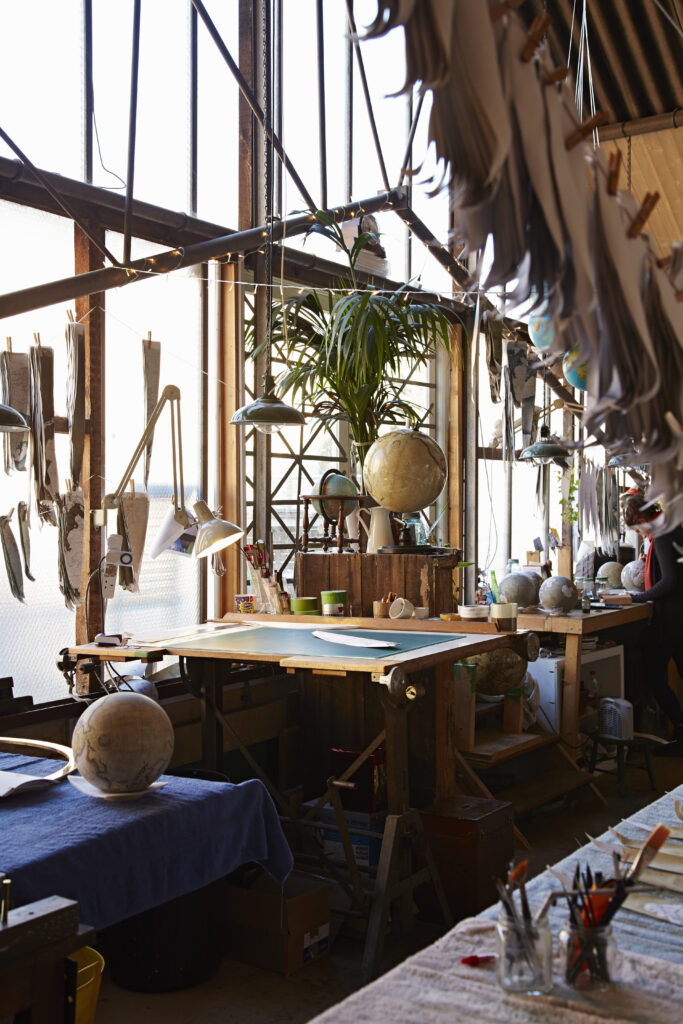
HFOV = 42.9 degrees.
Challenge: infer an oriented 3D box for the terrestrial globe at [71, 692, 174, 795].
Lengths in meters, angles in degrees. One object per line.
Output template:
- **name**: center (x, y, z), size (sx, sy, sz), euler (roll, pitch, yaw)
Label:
- **terrestrial globe**: center (-0.614, 0.583, 2.392), size (0.223, 0.276, 0.275), euler (3, 16, 14)

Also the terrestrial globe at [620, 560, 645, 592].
- **terrestrial globe**: center (2.292, 0.495, 6.814), size (0.176, 0.257, 0.198), euler (-3, -5, 22)

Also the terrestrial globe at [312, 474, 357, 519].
- **terrestrial globe**: center (-0.027, -0.033, 4.270), size (0.174, 0.267, 0.253), euler (-4, 30, 12)

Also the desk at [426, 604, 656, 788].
- **desk**: center (1.129, 0.835, 4.973), size (1.114, 1.265, 0.917), euler (-1, 1, 44)

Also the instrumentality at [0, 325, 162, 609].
- **instrumentality**: center (-1.141, -0.192, 3.503), size (0.498, 1.132, 0.546), euler (-4, -5, 20)

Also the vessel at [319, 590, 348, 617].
- **vessel**: center (-0.039, 0.419, 4.068), size (0.092, 0.128, 0.109), euler (1, 1, 16)

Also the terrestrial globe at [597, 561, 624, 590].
- **terrestrial globe**: center (2.195, 0.498, 7.109), size (0.183, 0.275, 0.207), euler (0, 9, 15)

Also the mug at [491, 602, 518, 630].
- **mug**: center (0.682, 0.432, 3.623), size (0.087, 0.114, 0.096), euler (1, -3, -11)

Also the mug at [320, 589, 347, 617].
- **mug**: center (-0.038, 0.420, 4.068), size (0.092, 0.128, 0.108), euler (1, 1, 14)

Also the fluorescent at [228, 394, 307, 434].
- **fluorescent**: center (-0.289, -0.387, 3.283), size (0.271, 0.127, 0.196), euler (-4, -5, 6)

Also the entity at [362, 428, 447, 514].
- **entity**: center (0.307, -0.133, 3.932), size (0.314, 0.449, 0.330), euler (-7, -18, 43)

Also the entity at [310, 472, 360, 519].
- **entity**: center (-0.036, -0.080, 4.218), size (0.183, 0.286, 0.254), euler (3, 4, 21)

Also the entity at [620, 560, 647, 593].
- **entity**: center (2.308, 0.510, 6.867), size (0.175, 0.257, 0.199), euler (-3, -3, 15)

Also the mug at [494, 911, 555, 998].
- **mug**: center (0.225, 0.541, 1.071), size (0.064, 0.074, 0.068), euler (-4, -5, 9)

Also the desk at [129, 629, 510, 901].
- **desk**: center (-0.007, 0.657, 3.344), size (1.039, 0.987, 0.932), euler (1, 3, 34)

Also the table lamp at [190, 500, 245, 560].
- **table lamp**: center (-0.534, 0.054, 3.594), size (0.186, 0.247, 0.336), euler (-1, -6, -20)

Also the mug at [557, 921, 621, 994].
- **mug**: center (0.302, 0.529, 1.044), size (0.057, 0.072, 0.064), euler (-1, -5, 11)

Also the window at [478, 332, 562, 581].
- **window**: center (1.278, -0.330, 6.390), size (0.086, 2.051, 1.660), euler (1, -1, 27)
